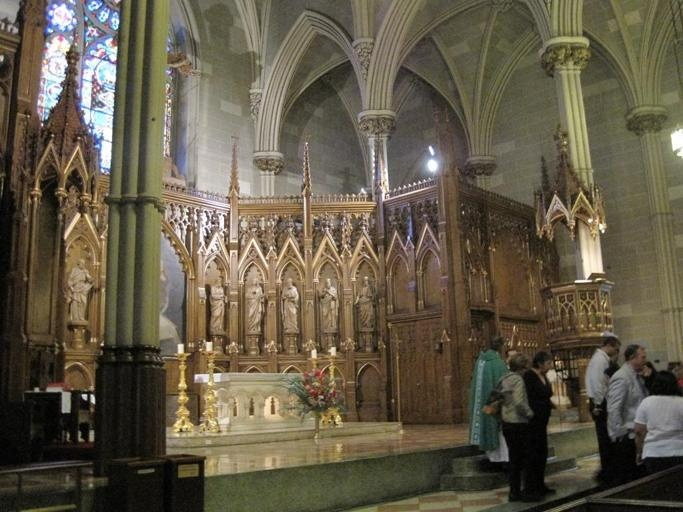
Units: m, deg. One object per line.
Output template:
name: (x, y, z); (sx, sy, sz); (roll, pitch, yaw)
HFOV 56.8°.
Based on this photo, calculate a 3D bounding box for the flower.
flower: (-0.545, 2.634, 11.854); (0.995, 1.133, 1.084); (1, -19, -1)

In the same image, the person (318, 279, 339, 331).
person: (-0.316, 1.289, 16.163); (0.524, 1.403, 0.286); (-4, -13, -2)

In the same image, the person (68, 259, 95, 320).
person: (-5.661, 0.763, 13.731); (0.278, 1.362, 0.591); (-12, -15, 29)

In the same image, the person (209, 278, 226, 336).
person: (-3.125, 1.253, 15.923); (0.415, 1.505, 0.265); (-1, -14, -12)

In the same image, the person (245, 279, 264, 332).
person: (-2.202, 1.301, 16.075); (0.471, 1.378, 0.325); (-1, -14, -13)

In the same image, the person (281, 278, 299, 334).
person: (-1.298, 1.304, 16.158); (0.486, 1.398, 0.320); (-3, -13, -5)
